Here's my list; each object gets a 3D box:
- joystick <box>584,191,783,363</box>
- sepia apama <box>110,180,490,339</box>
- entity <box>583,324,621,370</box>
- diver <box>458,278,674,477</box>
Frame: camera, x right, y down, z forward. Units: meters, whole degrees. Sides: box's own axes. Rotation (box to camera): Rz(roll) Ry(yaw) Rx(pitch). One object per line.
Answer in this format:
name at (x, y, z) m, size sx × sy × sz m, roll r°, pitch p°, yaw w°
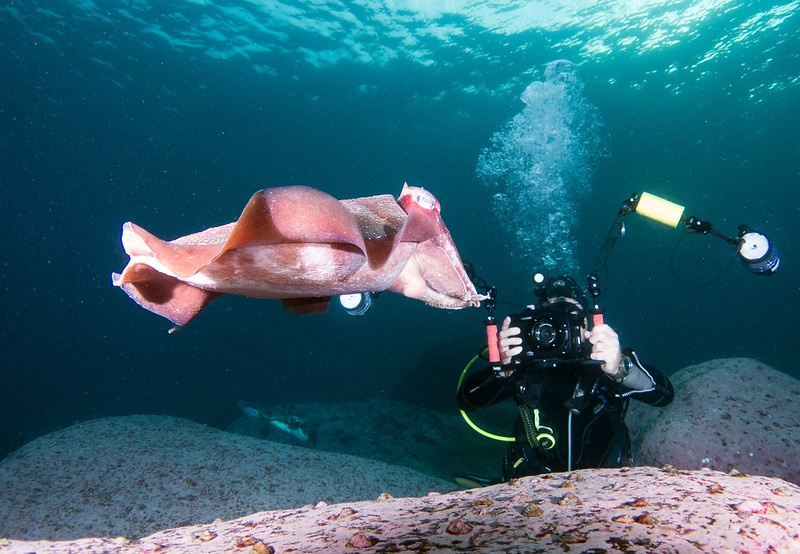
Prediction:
joystick at (11.447, -2.167, 35.415) m, size 9.734 × 6.792 × 9.002 m, roll 6°, pitch 11°, yaw 26°
sepia apama at (-4.020, -0.888, 30.181) m, size 10.051 × 6.862 × 2.972 m, roll 3°, pitch 79°, yaw -3°
entity at (7.870, 2.731, 30.590) m, size 1.540 × 1.776 × 0.967 m, roll 21°, pitch 41°, yaw 25°
diver at (6.597, 4.076, 31.691) m, size 8.258 × 5.724 × 7.596 m, roll 0°, pitch 69°, yaw 18°
